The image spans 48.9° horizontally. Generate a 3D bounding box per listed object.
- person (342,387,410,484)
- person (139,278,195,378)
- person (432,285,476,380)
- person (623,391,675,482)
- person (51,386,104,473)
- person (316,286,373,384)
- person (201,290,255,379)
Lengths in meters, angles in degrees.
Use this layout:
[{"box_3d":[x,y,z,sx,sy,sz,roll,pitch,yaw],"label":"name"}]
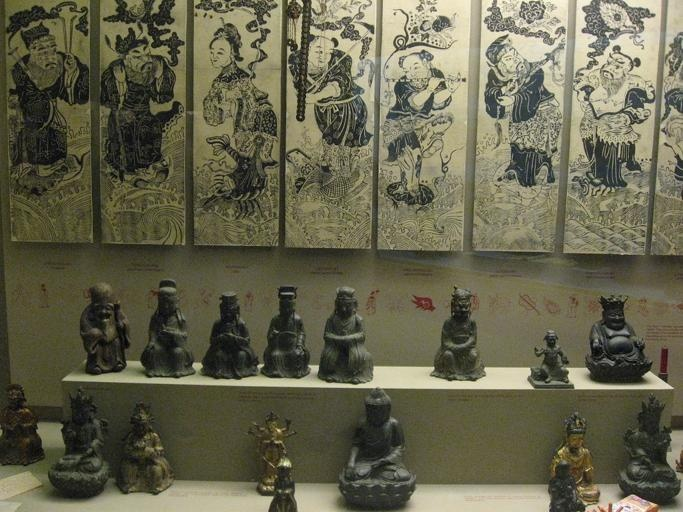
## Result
[{"box_3d":[0.370,1.769,7.568,0.828,1.149,0.708,0,-2,6],"label":"person"},{"box_3d":[-1.807,0.744,7.760,0.529,0.973,0.371,-4,7,-18],"label":"person"},{"box_3d":[1.193,0.796,7.773,0.540,0.938,0.282,-1,6,10],"label":"person"},{"box_3d":[3.010,1.782,7.366,0.491,0.819,0.326,1,7,24],"label":"person"},{"box_3d":[-2.560,1.682,7.332,0.463,0.809,0.285,-3,6,-9],"label":"person"},{"box_3d":[0.027,0.806,7.677,0.560,0.948,0.322,-3,6,-2],"label":"person"},{"box_3d":[-1.117,0.818,8.004,0.733,1.066,0.704,1,-1,-6],"label":"person"}]
